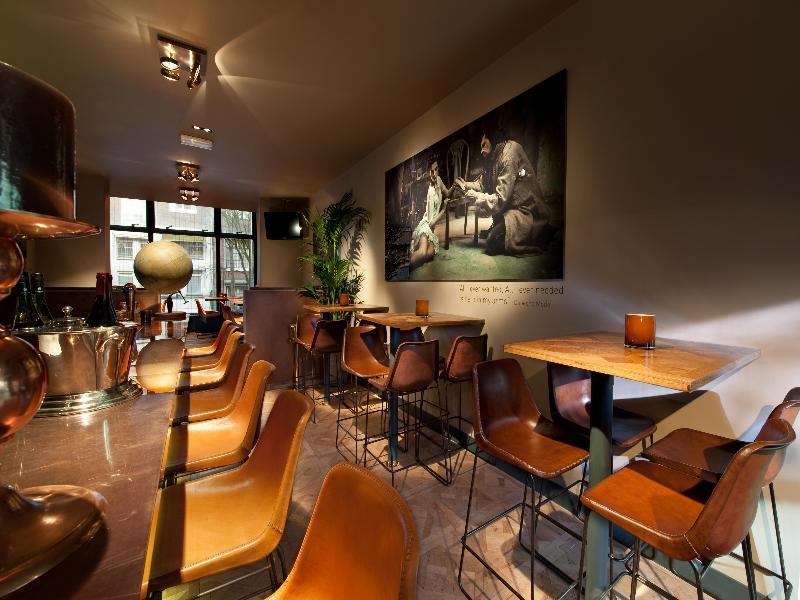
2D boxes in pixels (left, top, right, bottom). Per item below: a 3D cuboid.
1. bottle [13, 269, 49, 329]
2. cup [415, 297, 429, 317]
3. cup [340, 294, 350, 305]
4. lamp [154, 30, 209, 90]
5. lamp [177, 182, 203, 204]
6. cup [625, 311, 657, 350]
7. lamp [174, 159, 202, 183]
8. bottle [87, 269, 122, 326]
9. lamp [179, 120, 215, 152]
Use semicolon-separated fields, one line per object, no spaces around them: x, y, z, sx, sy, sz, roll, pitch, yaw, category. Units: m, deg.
-1.635;-0.010;2.257;0.126;0.228;0.358;-2;5;-35;bottle
0.165;0.055;3.982;0.114;0.143;0.115;1;6;0;cup
-0.556;-0.009;4.997;0.096;0.121;0.099;1;5;0;cup
-1.637;-1.771;3.847;0.347;0.187;0.538;0;4;-23;lamp
-3.120;-1.568;7.486;0.260;0.218;0.228;3;6;25;lamp
1.175;0.148;2.486;0.142;0.183;0.152;0;-2;0;cup
-2.682;-1.626;6.439;0.219;0.180;0.234;-2;-3;38;lamp
-1.315;-0.010;2.248;0.118;0.230;0.254;-1;5;-32;bottle
-2.113;-1.688;5.306;0.339;0.095;0.777;0;4;-22;lamp
